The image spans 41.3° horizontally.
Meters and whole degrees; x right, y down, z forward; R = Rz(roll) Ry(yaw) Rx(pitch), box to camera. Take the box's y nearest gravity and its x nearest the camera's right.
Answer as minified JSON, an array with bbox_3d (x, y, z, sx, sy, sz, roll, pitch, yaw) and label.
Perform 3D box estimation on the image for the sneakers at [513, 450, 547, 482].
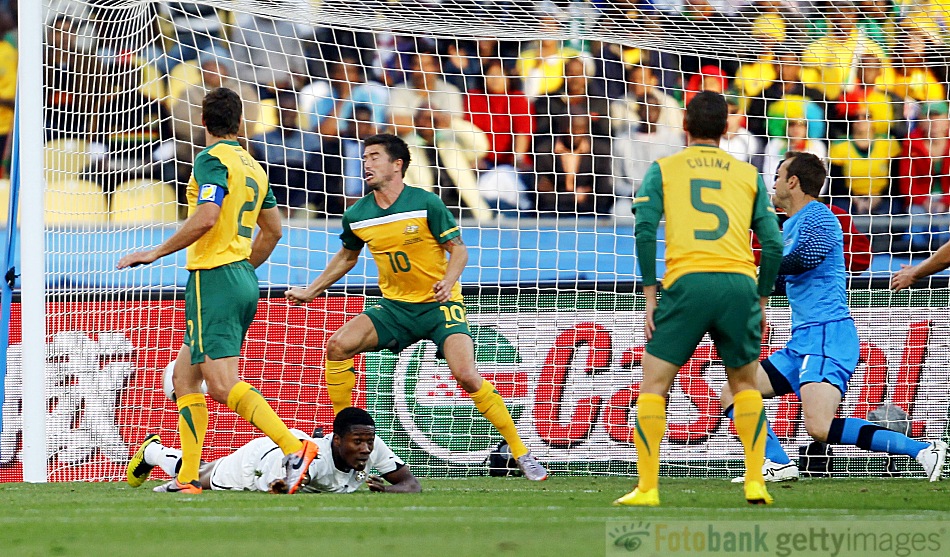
[{"bbox_3d":[0.486,1.629,10.881,0.174,0.319,0.131,-45,-7,2],"label":"sneakers"}]

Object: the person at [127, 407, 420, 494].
[{"bbox_3d":[-1.687,1.484,10.244,2.218,0.674,0.875,-2,-1,20],"label":"person"}]

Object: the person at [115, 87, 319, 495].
[{"bbox_3d":[-2.008,0.067,10.074,1.199,3.209,0.878,-4,4,-15],"label":"person"}]

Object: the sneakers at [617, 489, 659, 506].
[{"bbox_3d":[1.213,1.582,9.155,0.332,0.123,0.118,2,-8,3],"label":"sneakers"}]

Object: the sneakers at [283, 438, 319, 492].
[{"bbox_3d":[-1.361,1.461,9.908,0.224,0.483,0.168,14,20,-11],"label":"sneakers"}]

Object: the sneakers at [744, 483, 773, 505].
[{"bbox_3d":[2.083,1.553,9.219,0.193,0.171,0.210,-2,3,11],"label":"sneakers"}]

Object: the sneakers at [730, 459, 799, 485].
[{"bbox_3d":[2.553,1.675,11.132,0.723,0.280,0.232,0,-2,-9],"label":"sneakers"}]
